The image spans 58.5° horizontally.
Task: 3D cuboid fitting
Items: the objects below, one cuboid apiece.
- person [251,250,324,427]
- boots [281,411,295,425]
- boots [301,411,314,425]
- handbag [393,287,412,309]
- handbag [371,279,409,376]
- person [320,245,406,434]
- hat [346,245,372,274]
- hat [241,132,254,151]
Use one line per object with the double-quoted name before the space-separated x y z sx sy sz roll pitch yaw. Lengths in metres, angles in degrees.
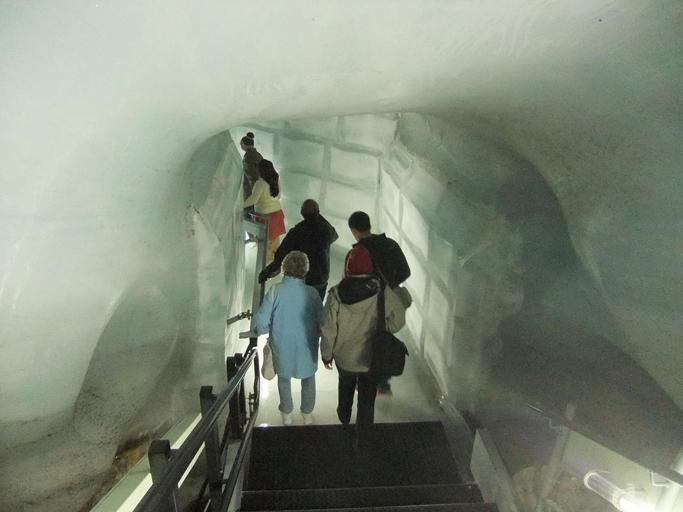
"person" -0.316 0.524 3.974 0.477 1.238 0.374 -3 24 -9
"boots" -0.365 1.116 4.184 0.067 0.129 0.116 1 -1 -2
"boots" -0.217 1.088 4.128 0.056 0.106 0.098 -2 15 0
"handbag" 0.379 0.269 3.792 0.034 0.125 0.118 -28 -32 31
"handbag" 0.281 0.442 3.567 0.198 0.508 0.094 0 -1 5
"person" 0.139 0.526 3.816 0.496 1.242 0.476 2 24 1
"hat" 0.102 0.025 3.623 0.107 0.124 0.176 -2 31 2
"hat" -0.882 -1.066 5.708 0.103 0.172 0.357 1 -1 -11
